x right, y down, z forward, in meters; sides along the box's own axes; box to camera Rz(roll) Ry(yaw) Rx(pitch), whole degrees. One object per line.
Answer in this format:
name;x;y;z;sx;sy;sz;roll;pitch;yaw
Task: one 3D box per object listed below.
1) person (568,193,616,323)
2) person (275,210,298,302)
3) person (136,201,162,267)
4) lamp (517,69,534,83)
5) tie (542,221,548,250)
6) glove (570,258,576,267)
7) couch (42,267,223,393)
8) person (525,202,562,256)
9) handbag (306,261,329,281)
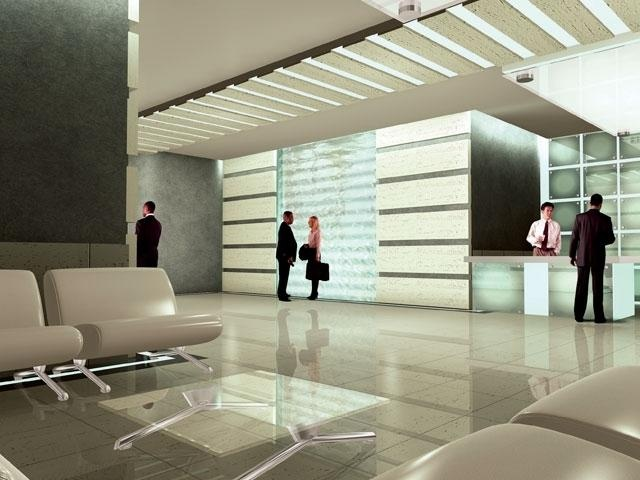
person;4.568;0.301;7.541;0.611;2.117;0.434;-1;-2;30
person;-0.783;0.392;10.450;0.405;2.128;0.550;0;-1;-5
person;-3.235;-0.113;8.470;0.432;1.258;0.647;0;-2;-21
lamp;3.178;-2.548;7.019;0.179;0.059;0.171;2;-4;-31
tie;4.318;-0.083;8.608;0.137;0.540;0.080;-1;-1;10
glove;4.281;0.387;7.593;0.113;0.096;0.026;0;8;1
couch;-1.733;0.623;4.019;1.288;0.925;1.274;4;-5;-41
person;4.366;-0.214;8.779;0.551;1.049;1.123;-1;-2;25
handbag;-0.057;0.742;10.617;0.541;0.407;0.289;-1;-6;33
